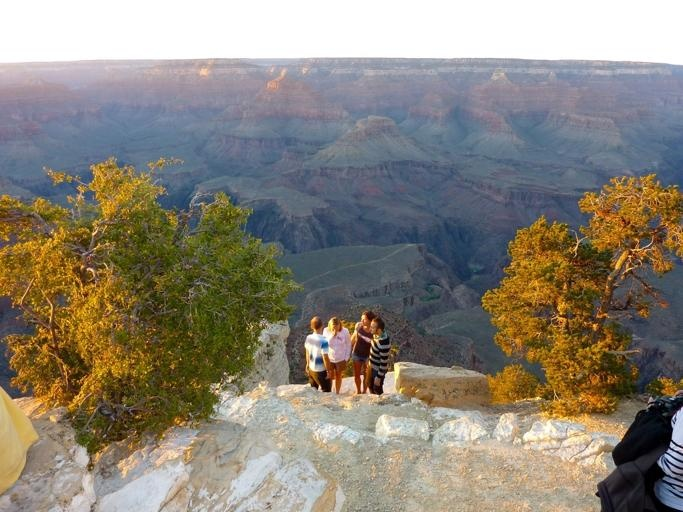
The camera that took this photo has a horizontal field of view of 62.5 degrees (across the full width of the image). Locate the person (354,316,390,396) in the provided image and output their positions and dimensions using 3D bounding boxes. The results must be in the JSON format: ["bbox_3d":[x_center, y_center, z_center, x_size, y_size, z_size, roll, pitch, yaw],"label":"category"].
[{"bbox_3d":[0.825,2.873,15.862,0.766,2.331,1.128,-16,57,-10],"label":"person"}]

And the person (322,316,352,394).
[{"bbox_3d":[-0.123,2.796,15.687,0.720,2.471,1.008,2,9,0],"label":"person"}]
